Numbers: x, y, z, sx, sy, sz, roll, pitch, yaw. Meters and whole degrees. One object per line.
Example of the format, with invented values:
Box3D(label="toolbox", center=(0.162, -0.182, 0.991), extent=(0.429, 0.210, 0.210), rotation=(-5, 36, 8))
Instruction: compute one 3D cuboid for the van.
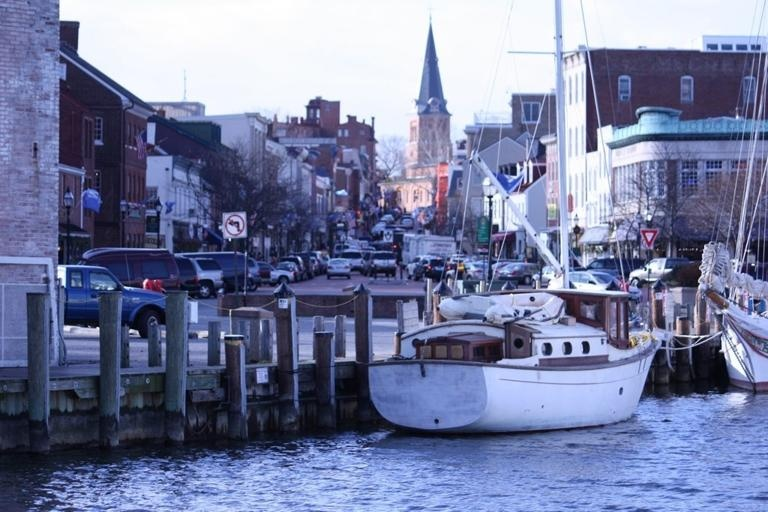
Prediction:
Box3D(label="van", center=(-9.045, 0.675, 75.541), extent=(5.807, 1.846, 2.165), rotation=(3, -3, -26))

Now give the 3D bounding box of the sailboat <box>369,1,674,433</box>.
Box3D(label="sailboat", center=(4.346, 3.403, 59.206), extent=(9.085, 7.598, 2.885), rotation=(-2, -1, -25))

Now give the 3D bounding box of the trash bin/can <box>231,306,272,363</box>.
Box3D(label="trash bin/can", center=(-4.356, 2.572, 59.115), extent=(1.117, 1.816, 2.412), rotation=(-3, -2, 22))

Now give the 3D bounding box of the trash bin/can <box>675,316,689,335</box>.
Box3D(label="trash bin/can", center=(11.726, 2.647, 69.835), extent=(0.611, 0.758, 0.638), rotation=(2, 3, 25))

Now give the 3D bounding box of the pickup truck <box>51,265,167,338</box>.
Box3D(label="pickup truck", center=(-9.960, 1.484, 64.965), extent=(4.036, 2.040, 2.216), rotation=(-1, -1, -9))
